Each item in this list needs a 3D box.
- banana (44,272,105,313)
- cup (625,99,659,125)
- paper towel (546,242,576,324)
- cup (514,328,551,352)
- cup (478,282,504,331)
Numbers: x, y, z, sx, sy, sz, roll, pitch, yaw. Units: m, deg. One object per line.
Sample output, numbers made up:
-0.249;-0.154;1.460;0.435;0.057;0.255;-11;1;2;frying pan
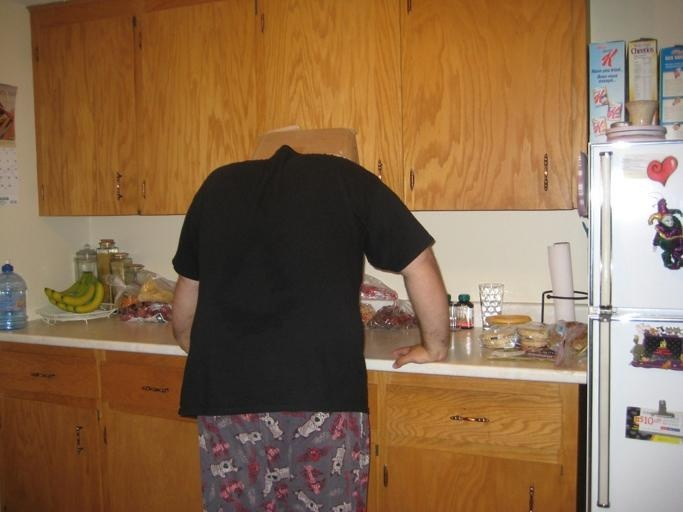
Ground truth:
-1.389;0.187;3.173;0.178;0.206;0.309;9;10;19;banana
1.157;-0.548;2.370;0.125;0.108;0.130;-1;2;0;cup
0.953;0.112;2.665;0.107;0.336;0.196;2;3;37;paper towel
0.749;0.324;2.409;0.086;0.057;0.088;-1;9;0;cup
0.690;0.235;2.813;0.113;0.199;0.321;0;3;13;cup
